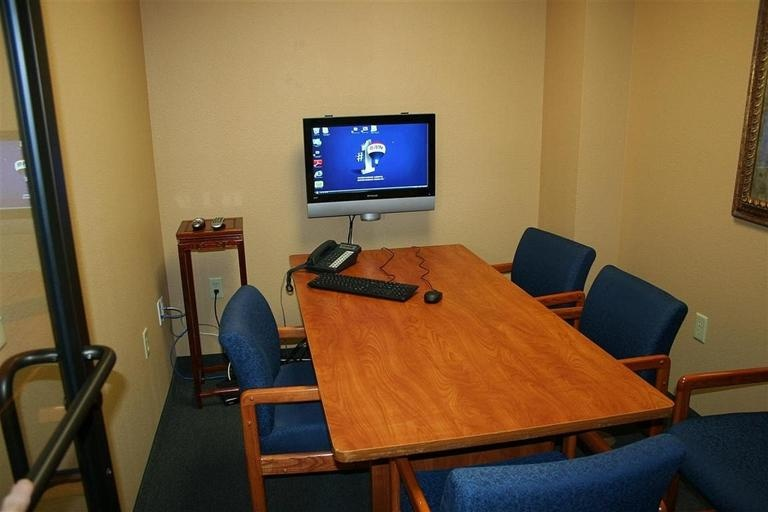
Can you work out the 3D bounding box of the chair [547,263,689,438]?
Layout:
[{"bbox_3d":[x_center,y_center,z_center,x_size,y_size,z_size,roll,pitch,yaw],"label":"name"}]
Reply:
[{"bbox_3d":[1.203,0.419,3.032,0.570,0.820,0.613,-1,22,-19],"label":"chair"}]

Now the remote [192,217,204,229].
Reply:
[{"bbox_3d":[-1.167,-0.215,3.677,0.065,0.072,0.079,2,31,-5],"label":"remote"}]

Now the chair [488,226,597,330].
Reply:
[{"bbox_3d":[0.950,0.132,3.396,0.416,0.617,0.448,-4,24,-20],"label":"chair"}]

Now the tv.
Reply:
[{"bbox_3d":[-0.102,-0.612,3.875,0.743,0.560,0.101,-3,20,-8],"label":"tv"}]

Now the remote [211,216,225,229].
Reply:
[{"bbox_3d":[-1.050,-0.216,3.680,0.061,0.028,0.119,-1,18,-10],"label":"remote"}]
